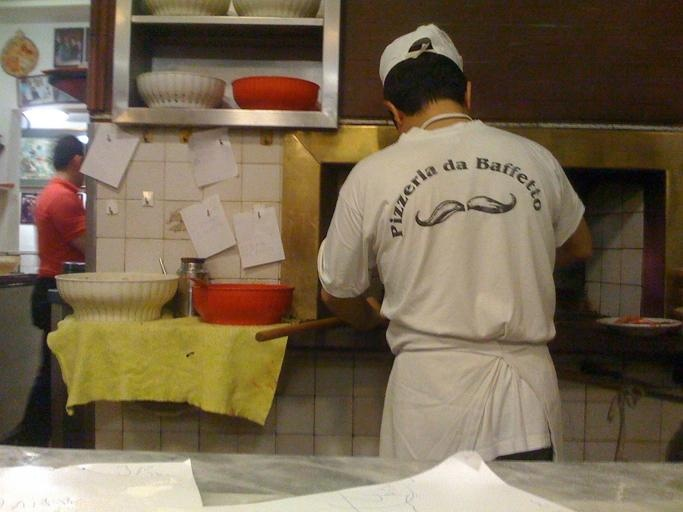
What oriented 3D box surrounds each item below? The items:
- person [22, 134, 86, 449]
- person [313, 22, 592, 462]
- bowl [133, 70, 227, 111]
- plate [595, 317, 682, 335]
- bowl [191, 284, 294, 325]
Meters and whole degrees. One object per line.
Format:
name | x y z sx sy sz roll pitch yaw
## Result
person | -1.512 0.187 4.593 0.272 1.706 0.517 2 0 -22
person | 0.408 -0.054 3.272 0.984 1.401 0.518 1 0 16
bowl | -0.777 -0.802 4.194 0.249 0.094 0.260 -1 6 0
plate | 1.440 0.327 4.160 0.396 0.061 0.247 1 0 3
bowl | -0.454 0.219 4.009 0.463 0.186 0.193 1 0 -9
